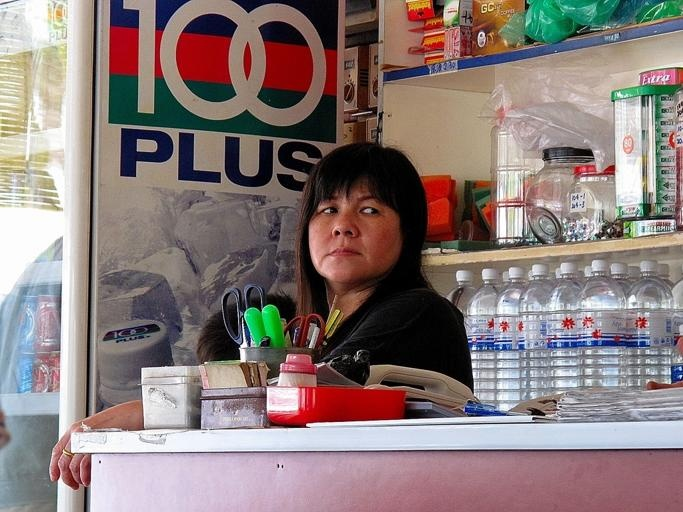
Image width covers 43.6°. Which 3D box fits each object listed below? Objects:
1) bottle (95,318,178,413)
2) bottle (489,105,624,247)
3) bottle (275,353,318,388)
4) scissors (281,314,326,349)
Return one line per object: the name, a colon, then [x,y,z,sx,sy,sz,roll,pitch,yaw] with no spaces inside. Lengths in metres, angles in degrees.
bottle: [-0.670,0.313,2.696,0.298,0.277,0.289,-3,-1,-26]
bottle: [0.767,-0.269,2.869,0.464,0.433,0.332,5,-5,-25]
bottle: [-0.076,0.189,1.425,0.057,0.053,0.057,1,-4,-2]
scissors: [-0.076,0.155,1.733,0.015,0.099,0.103,-6,-9,44]
